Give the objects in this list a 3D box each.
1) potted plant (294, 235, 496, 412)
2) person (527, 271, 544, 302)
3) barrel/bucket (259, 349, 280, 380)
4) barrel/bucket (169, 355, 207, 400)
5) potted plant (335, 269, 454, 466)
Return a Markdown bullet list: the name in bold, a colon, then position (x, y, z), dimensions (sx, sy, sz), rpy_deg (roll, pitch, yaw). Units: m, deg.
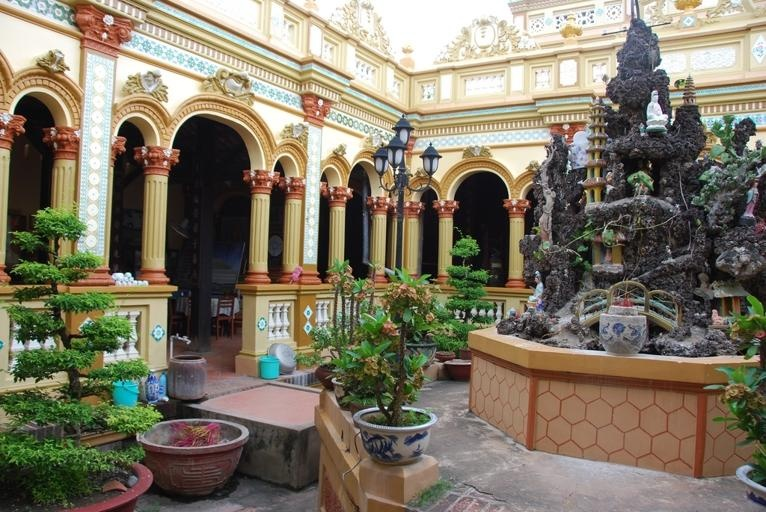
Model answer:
- **potted plant**: position (0.197, 1.199, 10.006), dimensions (3.016, 2.388, 3.261), rpy_deg (-4, -6, 39)
- **person**: position (2.769, 0.538, 9.759), dimensions (0.235, 0.519, 1.059), rpy_deg (1, 3, 15)
- **barrel/bucket**: position (-2.429, 2.340, 11.440), dimensions (0.448, 0.439, 0.439), rpy_deg (0, -5, 0)
- **barrel/bucket**: position (-3.415, 2.092, 9.572), dimensions (0.752, 0.693, 0.694), rpy_deg (0, -4, 0)
- **potted plant**: position (0.068, 1.288, 6.361), dimensions (1.102, 2.300, 1.959), rpy_deg (0, 3, 3)
